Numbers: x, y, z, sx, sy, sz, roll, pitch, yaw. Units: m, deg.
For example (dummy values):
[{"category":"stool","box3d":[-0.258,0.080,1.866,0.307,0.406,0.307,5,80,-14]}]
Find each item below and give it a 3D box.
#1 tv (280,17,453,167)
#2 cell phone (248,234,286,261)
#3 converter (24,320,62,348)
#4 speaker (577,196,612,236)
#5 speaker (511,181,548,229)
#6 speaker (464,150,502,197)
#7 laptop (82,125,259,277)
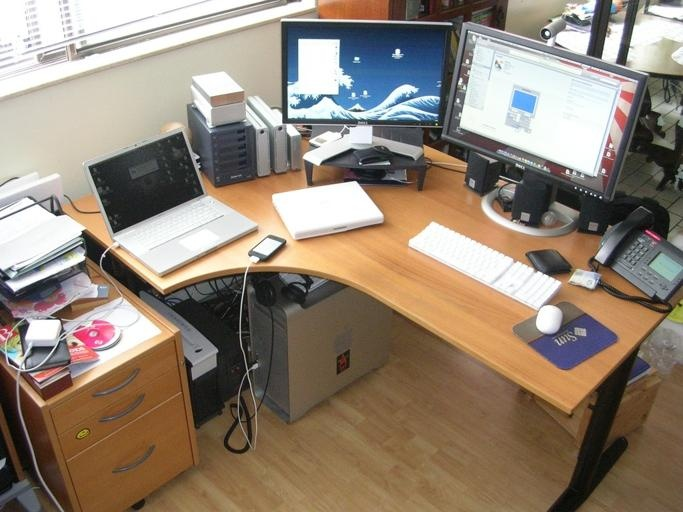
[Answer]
[{"category":"tv","box3d":[0.097,-0.722,2.356,0.824,0.518,0.081,0,30,-1]},{"category":"cell phone","box3d":[-0.287,-0.030,2.059,0.076,0.018,0.132,25,46,29]},{"category":"converter","box3d":[-1.038,0.258,1.872,0.107,0.047,0.149,-6,36,-8]},{"category":"speaker","box3d":[1.005,-0.155,2.124,0.077,0.141,0.077,20,58,30]},{"category":"speaker","box3d":[0.768,-0.205,2.179,0.091,0.167,0.096,21,47,24]},{"category":"speaker","box3d":[0.614,-0.354,2.323,0.109,0.160,0.111,34,61,24]},{"category":"laptop","box3d":[-0.731,-0.127,2.288,0.633,0.405,0.592,38,55,26]}]
